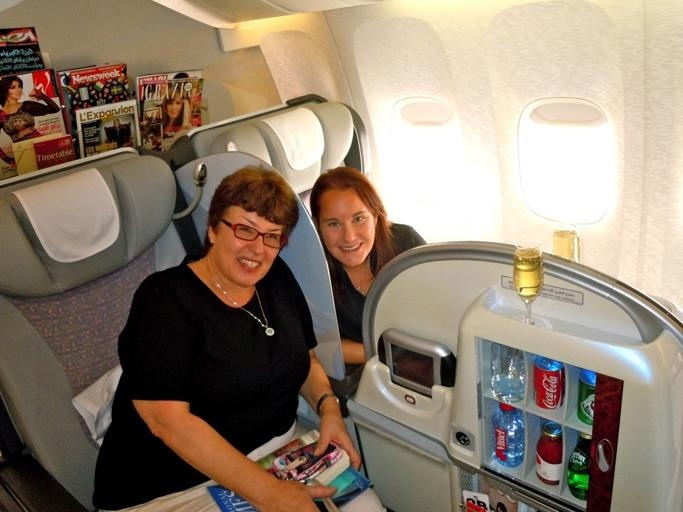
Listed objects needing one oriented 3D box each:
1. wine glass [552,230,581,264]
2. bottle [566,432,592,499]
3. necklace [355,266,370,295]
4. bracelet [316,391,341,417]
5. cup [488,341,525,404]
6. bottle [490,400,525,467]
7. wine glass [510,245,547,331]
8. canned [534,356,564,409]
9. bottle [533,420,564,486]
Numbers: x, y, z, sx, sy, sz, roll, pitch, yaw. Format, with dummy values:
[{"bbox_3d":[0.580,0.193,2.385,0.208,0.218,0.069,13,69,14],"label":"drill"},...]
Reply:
[{"bbox_3d":[0.824,-0.037,1.875,0.083,0.111,0.234,8,15,27],"label":"wine glass"},{"bbox_3d":[0.651,0.587,1.421,0.050,0.166,0.083,1,14,1],"label":"bottle"},{"bbox_3d":[0.094,0.110,2.222,0.081,0.111,0.033,-1,6,6],"label":"necklace"},{"bbox_3d":[-0.051,0.537,1.868,0.083,0.089,0.032,5,-1,12],"label":"bracelet"},{"bbox_3d":[0.489,0.346,1.500,0.100,0.163,0.100,-3,9,0],"label":"cup"},{"bbox_3d":[0.501,0.529,1.524,0.096,0.218,0.097,-3,12,1],"label":"bottle"},{"bbox_3d":[0.498,0.078,1.371,0.079,0.210,0.125,7,15,22],"label":"wine glass"},{"bbox_3d":[0.575,0.348,1.409,0.086,0.153,0.088,-3,13,-3],"label":"canned"},{"bbox_3d":[0.585,0.559,1.431,0.074,0.178,0.048,7,15,23],"label":"bottle"}]
